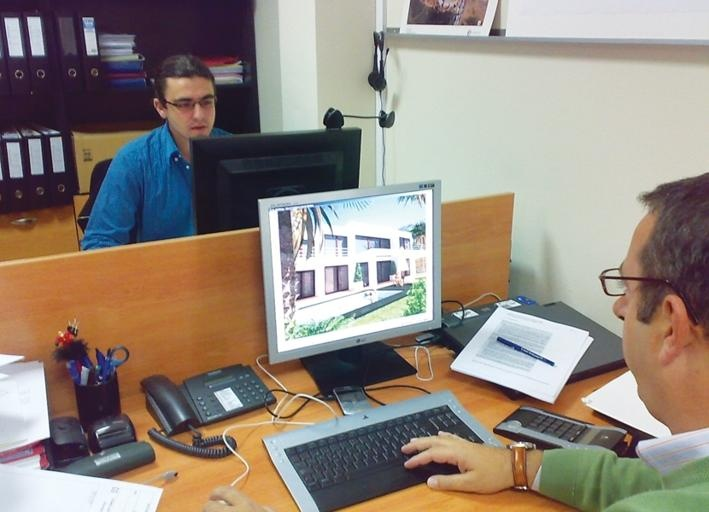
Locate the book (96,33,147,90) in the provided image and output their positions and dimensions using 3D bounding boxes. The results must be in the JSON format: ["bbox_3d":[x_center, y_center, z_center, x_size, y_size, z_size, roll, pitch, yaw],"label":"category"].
[{"bbox_3d":[-1.358,-1.123,3.261,0.252,0.115,0.333,-1,12,-16],"label":"book"}]

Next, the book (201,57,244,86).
[{"bbox_3d":[-0.833,-1.187,3.581,0.241,0.085,0.251,3,26,4],"label":"book"}]

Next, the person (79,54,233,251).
[{"bbox_3d":[-0.841,-0.302,2.703,0.606,1.040,0.304,8,25,31],"label":"person"}]

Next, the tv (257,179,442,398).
[{"bbox_3d":[-0.021,0.104,1.693,0.550,0.557,0.197,-9,15,-26],"label":"tv"}]

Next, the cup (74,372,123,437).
[{"bbox_3d":[-0.687,0.390,1.557,0.138,0.148,0.133,0,19,0],"label":"cup"}]

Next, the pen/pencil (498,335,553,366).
[{"bbox_3d":[0.540,0.302,1.763,0.139,0.020,0.018,30,13,28],"label":"pen/pencil"}]

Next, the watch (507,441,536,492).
[{"bbox_3d":[0.418,0.529,1.412,0.066,0.105,0.106,2,22,1],"label":"watch"}]

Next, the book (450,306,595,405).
[{"bbox_3d":[0.526,0.308,1.760,0.270,0.036,0.311,15,41,29],"label":"book"}]

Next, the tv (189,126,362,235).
[{"bbox_3d":[-0.247,-0.229,1.759,0.352,0.268,0.040,-8,23,-18],"label":"tv"}]
